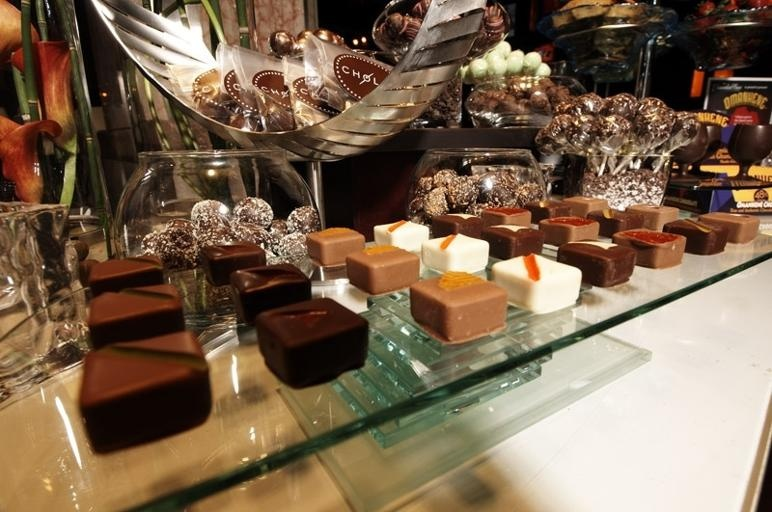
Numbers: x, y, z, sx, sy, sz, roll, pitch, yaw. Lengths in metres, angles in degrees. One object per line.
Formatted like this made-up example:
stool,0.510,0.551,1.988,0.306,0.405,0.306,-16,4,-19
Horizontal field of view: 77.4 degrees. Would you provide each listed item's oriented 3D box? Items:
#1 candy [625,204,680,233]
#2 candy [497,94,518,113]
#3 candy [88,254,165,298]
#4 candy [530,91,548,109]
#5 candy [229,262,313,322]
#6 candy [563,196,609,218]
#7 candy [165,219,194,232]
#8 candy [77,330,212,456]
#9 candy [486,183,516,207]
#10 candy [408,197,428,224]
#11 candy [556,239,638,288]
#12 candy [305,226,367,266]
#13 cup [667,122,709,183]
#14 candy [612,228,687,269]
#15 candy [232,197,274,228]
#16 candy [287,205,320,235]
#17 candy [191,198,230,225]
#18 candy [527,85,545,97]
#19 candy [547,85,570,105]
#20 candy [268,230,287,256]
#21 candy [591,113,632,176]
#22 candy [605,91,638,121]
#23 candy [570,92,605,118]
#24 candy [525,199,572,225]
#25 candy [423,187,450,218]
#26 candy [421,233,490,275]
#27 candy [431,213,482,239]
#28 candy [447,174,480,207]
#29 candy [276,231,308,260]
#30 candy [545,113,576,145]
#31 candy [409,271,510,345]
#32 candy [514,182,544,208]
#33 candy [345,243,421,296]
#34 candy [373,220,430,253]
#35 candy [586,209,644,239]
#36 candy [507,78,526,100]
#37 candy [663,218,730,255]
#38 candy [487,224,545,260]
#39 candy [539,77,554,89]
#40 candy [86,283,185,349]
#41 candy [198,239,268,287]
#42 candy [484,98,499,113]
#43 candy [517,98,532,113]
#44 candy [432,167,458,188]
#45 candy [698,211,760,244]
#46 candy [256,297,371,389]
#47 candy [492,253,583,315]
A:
candy,0.715,-0.106,1.289,0.101,0.056,0.095,-14,19,-31
candy,0.421,-0.520,1.662,0.055,0.051,0.021,28,25,-11
candy,-0.459,0.032,0.851,0.108,0.047,0.075,-6,19,-24
candy,0.520,-0.526,1.636,0.057,0.050,0.029,5,6,10
candy,-0.194,0.054,0.814,0.135,0.082,0.094,-13,22,-27
candy,0.567,-0.154,1.372,0.090,0.060,0.086,-14,18,-36
candy,-0.428,-0.066,0.986,0.035,0.012,0.032,-16,33,-39
candy,-0.330,0.188,0.678,0.220,0.142,0.135,-4,39,-25
candy,0.323,-0.163,1.323,0.092,0.059,0.023,-5,22,-22
candy,0.088,-0.124,1.346,0.056,0.065,0.069,-5,3,-2
candy,0.443,-0.003,0.999,0.116,0.064,0.109,-13,22,-29
candy,-0.117,-0.023,1.073,0.098,0.059,0.092,-12,21,-32
cup,1.075,-0.358,1.695,0.196,0.193,0.197,-3,15,1
candy,0.586,-0.015,1.068,0.114,0.056,0.108,-12,18,-29
candy,-0.291,-0.094,1.068,0.069,0.072,0.041,5,27,-10
candy,-0.194,-0.082,1.134,0.074,0.058,0.052,-28,44,7
candy,-0.371,-0.092,1.023,0.064,0.041,0.068,0,4,8
candy,0.513,-0.560,1.640,0.047,0.014,0.041,6,61,-1
candy,0.607,-0.556,1.677,0.069,0.066,0.096,13,21,26
candy,-0.243,-0.028,1.078,0.041,0.048,0.017,1,-11,-26
candy,0.676,-0.328,1.463,0.098,0.181,0.123,11,22,21
candy,0.717,-0.453,1.463,0.079,0.059,0.096,-8,39,14
candy,0.627,-0.468,1.496,0.090,0.047,0.081,-11,44,-5
candy,0.452,-0.130,1.328,0.101,0.044,0.073,-15,18,-35
candy,0.135,-0.140,1.291,0.070,0.080,0.034,0,-7,6
candy,0.148,-0.020,1.040,0.105,0.064,0.099,-13,20,-36
candy,0.179,-0.085,1.184,0.077,0.044,0.076,-14,22,-36
candy,0.211,-0.175,1.307,0.078,0.030,0.090,-5,33,-5
candy,-0.211,-0.019,1.085,0.064,0.035,0.059,0,25,-3
candy,0.520,-0.383,1.438,0.033,0.064,0.091,-4,-13,-35
candy,0.124,0.071,0.855,0.137,0.078,0.129,-13,24,-29
candy,0.411,-0.178,1.393,0.083,0.075,0.079,-2,12,15
candy,-0.010,0.012,0.972,0.115,0.064,0.108,-12,22,-31
candy,0.044,-0.061,1.138,0.090,0.060,0.094,18,24,41
candy,0.603,-0.095,1.246,0.093,0.053,0.093,8,19,34
candy,0.446,-0.577,1.670,0.068,0.062,0.035,-18,-14,38
candy,0.710,-0.048,1.117,0.097,0.055,0.105,-18,25,-19
candy,0.300,-0.038,1.100,0.094,0.051,0.090,-7,12,-37
candy,0.549,-0.592,1.657,0.046,0.020,0.054,6,49,6
candy,-0.396,0.099,0.766,0.146,0.087,0.092,-2,-10,-15
candy,-0.286,0.010,0.907,0.120,0.069,0.082,-9,19,-30
candy,0.370,-0.524,1.692,0.045,0.040,0.015,7,9,26
candy,0.477,-0.517,1.663,0.046,0.041,0.041,2,25,8
candy,0.160,-0.209,1.307,0.054,0.018,0.055,-1,37,3
candy,0.847,-0.073,1.190,0.105,0.045,0.098,-10,16,-25
candy,-0.108,0.116,0.750,0.136,0.080,0.139,8,12,41
candy,0.283,0.035,0.909,0.125,0.069,0.118,-13,23,-30
